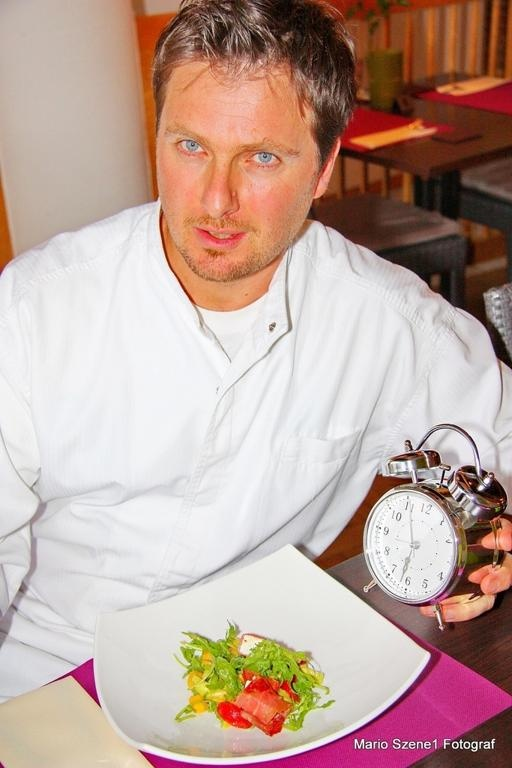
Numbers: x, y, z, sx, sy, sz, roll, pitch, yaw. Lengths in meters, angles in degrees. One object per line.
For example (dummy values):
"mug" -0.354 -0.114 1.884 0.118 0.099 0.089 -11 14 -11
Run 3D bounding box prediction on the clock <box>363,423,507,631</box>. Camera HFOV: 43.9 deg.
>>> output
"clock" 0.219 0.173 0.752 0.114 0.219 0.163 -14 28 -32
